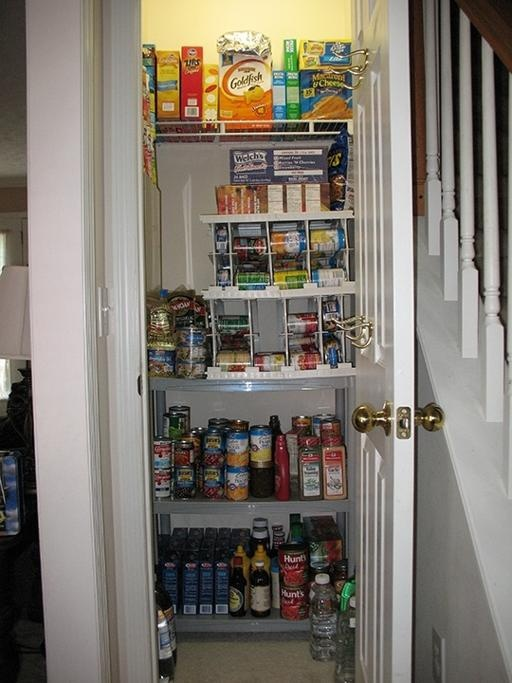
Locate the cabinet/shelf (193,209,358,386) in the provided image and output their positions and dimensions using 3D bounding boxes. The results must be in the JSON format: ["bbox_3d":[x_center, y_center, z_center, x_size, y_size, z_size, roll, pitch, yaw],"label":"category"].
[{"bbox_3d":[0.073,-0.204,2.245,0.449,0.662,0.639,-1,-1,0],"label":"cabinet/shelf"}]
